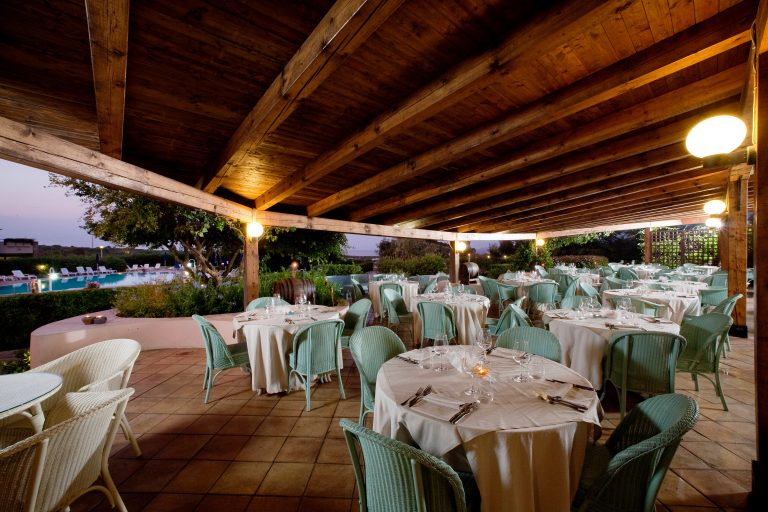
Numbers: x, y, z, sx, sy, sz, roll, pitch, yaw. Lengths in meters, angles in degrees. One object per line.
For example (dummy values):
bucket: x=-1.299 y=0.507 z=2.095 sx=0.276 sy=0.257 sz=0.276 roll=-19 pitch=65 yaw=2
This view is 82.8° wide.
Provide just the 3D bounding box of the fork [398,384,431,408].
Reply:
fork: x=0.254 y=1.219 z=3.651 sx=0.092 sy=0.069 sz=0.536 roll=-2 pitch=7 yaw=28

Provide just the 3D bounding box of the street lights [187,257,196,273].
street lights: x=-4.551 y=0.259 z=10.203 sx=0.105 sy=0.390 sz=0.387 roll=-11 pitch=-8 yaw=-14

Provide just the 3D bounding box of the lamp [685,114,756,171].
lamp: x=3.725 y=-1.224 z=4.833 sx=0.630 sy=0.389 sz=0.643 roll=-19 pitch=13 yaw=-23

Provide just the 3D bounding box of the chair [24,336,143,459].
chair: x=-2.893 y=1.498 z=4.324 sx=0.876 sy=1.164 sz=1.006 roll=-3 pitch=1 yaw=-40

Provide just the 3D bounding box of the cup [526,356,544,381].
cup: x=1.348 y=1.044 z=3.904 sx=0.135 sy=0.191 sz=0.265 roll=-2 pitch=-3 yaw=18

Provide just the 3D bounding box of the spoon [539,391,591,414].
spoon: x=1.467 y=1.246 z=3.592 sx=0.457 sy=0.077 sz=0.125 roll=10 pitch=29 yaw=44

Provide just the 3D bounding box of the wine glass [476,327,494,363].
wine glass: x=0.975 y=0.909 z=4.309 sx=0.172 sy=0.322 sz=0.481 roll=-2 pitch=-3 yaw=13
